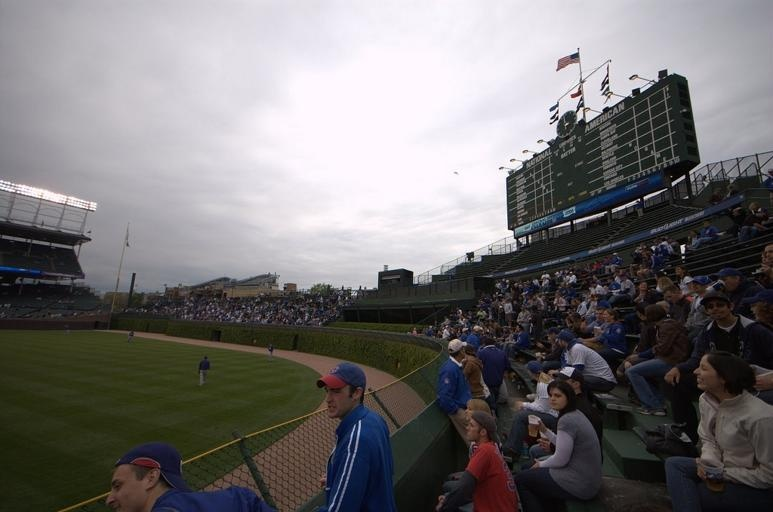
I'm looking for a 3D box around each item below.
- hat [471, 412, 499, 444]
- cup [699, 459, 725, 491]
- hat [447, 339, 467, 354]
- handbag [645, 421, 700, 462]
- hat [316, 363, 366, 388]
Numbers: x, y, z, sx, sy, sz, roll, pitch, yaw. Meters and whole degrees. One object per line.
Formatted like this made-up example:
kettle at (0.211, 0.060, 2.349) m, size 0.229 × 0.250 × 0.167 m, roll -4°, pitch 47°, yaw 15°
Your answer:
hat at (1.610, 2.869, 6.978) m, size 0.535 × 0.508 × 0.387 m, roll -1°, pitch -15°, yaw 20°
cup at (5.074, 3.436, 6.543) m, size 0.386 × 0.397 × 0.386 m, roll -5°, pitch -22°, yaw -2°
hat at (1.598, 2.044, 9.530) m, size 0.257 × 0.152 × 0.416 m, roll -4°, pitch 5°, yaw 40°
handbag at (4.870, 3.229, 7.224) m, size 0.622 × 0.285 × 0.739 m, roll 1°, pitch -7°, yaw 3°
hat at (-0.675, 1.827, 6.321) m, size 0.651 × 0.304 × 0.435 m, roll 5°, pitch -14°, yaw -15°
